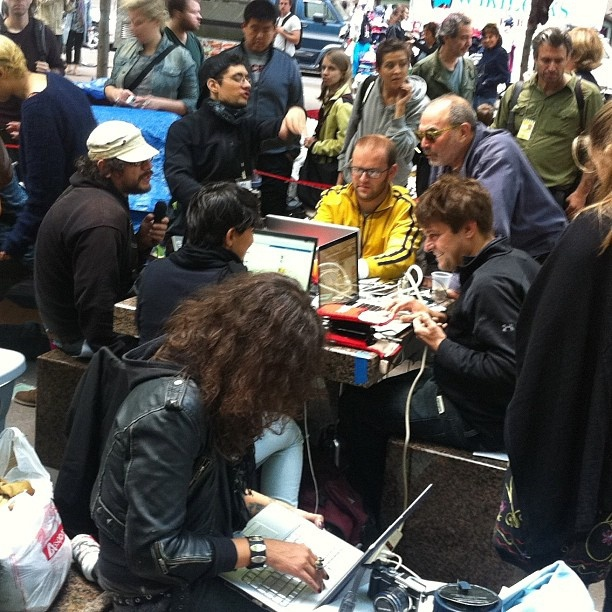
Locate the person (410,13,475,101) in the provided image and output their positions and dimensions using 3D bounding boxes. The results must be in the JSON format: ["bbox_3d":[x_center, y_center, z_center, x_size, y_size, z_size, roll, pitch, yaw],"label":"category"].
[{"bbox_3d":[1.611,-2.542,6.451,0.618,0.944,0.332,-13,-17,16],"label":"person"}]

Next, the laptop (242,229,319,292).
[{"bbox_3d":[-0.100,-0.261,3.029,0.426,0.282,0.244,12,18,9],"label":"laptop"}]

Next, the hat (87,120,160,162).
[{"bbox_3d":[-0.931,-0.828,3.236,0.297,0.118,0.221,2,6,37],"label":"hat"}]

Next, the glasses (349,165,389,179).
[{"bbox_3d":[0.362,-0.766,3.519,0.203,0.062,0.075,7,15,8],"label":"glasses"}]

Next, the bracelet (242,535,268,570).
[{"bbox_3d":[-0.132,0.655,1.630,0.070,0.085,0.086,0,-4,4],"label":"bracelet"}]

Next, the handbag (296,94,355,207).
[{"bbox_3d":[0.125,-1.457,6.066,0.495,1.497,0.523,-1,53,-12],"label":"handbag"}]
